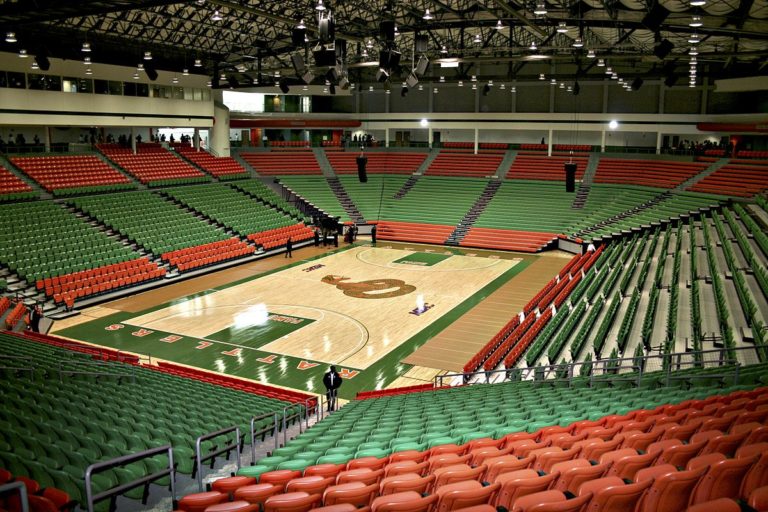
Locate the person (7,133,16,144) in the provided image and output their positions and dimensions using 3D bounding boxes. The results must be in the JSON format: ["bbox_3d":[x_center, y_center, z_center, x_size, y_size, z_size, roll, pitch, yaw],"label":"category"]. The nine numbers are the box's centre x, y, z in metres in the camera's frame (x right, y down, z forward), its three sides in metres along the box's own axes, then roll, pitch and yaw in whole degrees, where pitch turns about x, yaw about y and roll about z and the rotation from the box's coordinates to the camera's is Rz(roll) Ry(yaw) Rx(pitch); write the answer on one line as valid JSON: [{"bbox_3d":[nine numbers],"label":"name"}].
[{"bbox_3d":[-25.281,-8.046,33.436,0.434,0.769,1.307,-11,13,-33],"label":"person"}]

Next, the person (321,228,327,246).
[{"bbox_3d":[-4.150,-1.280,34.637,0.347,1.091,0.945,-6,11,-9],"label":"person"}]

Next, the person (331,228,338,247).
[{"bbox_3d":[-3.437,-1.199,34.632,0.414,1.020,1.225,-5,10,-6],"label":"person"}]

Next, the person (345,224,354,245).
[{"bbox_3d":[-2.434,-1.521,35.437,0.667,1.267,0.666,-5,13,-7],"label":"person"}]
